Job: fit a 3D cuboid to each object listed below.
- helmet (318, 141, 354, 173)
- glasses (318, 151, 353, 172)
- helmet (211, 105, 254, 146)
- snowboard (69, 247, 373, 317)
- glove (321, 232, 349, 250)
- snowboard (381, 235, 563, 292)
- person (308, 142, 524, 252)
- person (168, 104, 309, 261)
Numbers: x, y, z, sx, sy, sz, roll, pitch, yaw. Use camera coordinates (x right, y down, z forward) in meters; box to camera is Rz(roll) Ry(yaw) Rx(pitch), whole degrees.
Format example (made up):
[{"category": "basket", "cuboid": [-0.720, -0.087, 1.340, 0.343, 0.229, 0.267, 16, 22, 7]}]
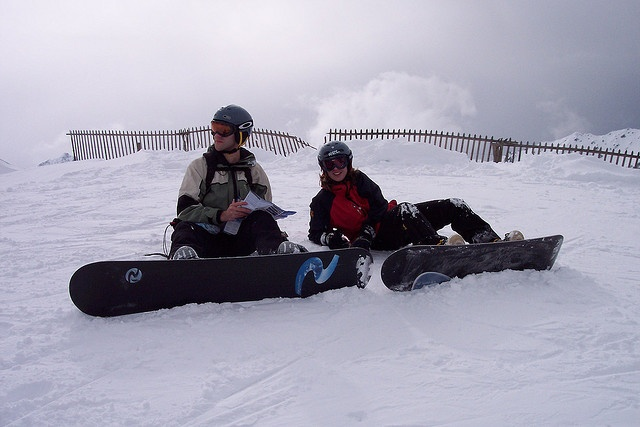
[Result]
[{"category": "helmet", "cuboid": [0.159, -0.554, 4.960, 0.326, 0.344, 0.395, -10, 0, 4]}, {"category": "glasses", "cuboid": [0.144, -0.510, 4.874, 0.338, 0.190, 0.180, -1, 8, 0]}, {"category": "helmet", "cuboid": [-0.824, -0.853, 4.649, 0.395, 0.383, 0.446, 22, 21, 30]}, {"category": "snowboard", "cuboid": [-0.770, 0.523, 3.818, 2.254, 0.447, 0.170, -3, 8, -10]}, {"category": "glove", "cuboid": [0.131, 0.249, 4.693, 0.162, 0.087, 0.219, -1, 17, -24]}, {"category": "snowboard", "cuboid": [1.543, 0.397, 4.369, 2.141, 0.581, 0.314, -1, 9, -16]}, {"category": "person", "cuboid": [0.850, -0.142, 4.784, 2.032, 1.091, 1.105, 0, 12, 38]}, {"category": "person", "cuboid": [-0.813, -0.237, 4.359, 1.129, 1.472, 1.702, -3, 9, -25]}]
